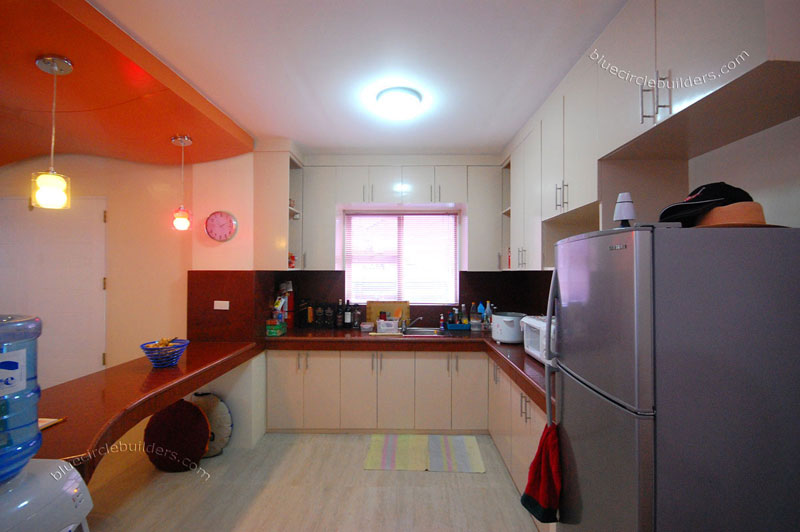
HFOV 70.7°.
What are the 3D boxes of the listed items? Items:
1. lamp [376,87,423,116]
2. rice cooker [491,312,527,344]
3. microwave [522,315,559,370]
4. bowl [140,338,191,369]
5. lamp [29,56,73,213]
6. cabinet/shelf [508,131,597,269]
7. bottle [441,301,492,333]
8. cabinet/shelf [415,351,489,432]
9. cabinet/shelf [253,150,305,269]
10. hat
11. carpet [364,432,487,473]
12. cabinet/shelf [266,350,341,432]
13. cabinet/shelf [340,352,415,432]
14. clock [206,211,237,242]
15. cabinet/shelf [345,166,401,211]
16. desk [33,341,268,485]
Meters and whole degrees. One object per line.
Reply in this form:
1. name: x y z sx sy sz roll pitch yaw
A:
1. lamp: -0.009 -1.334 4.584 0.382 0.174 0.402 -3 1 -2
2. rice cooker: 0.989 0.553 5.118 0.262 0.206 0.249 0 1 -27
3. microwave: 1.061 0.544 4.374 0.312 0.390 0.502 1 -6 3
4. bowl: -1.838 0.669 4.419 0.255 0.133 0.265 -1 -4 0
5. lamp: -2.606 -0.898 4.203 0.289 1.168 1.157 -3 1 -33
6. cabinet/shelf: 1.196 -0.523 4.369 0.356 1.174 1.127 1 -3 -1
7. bottle: 0.683 0.513 5.764 0.550 0.239 0.397 -3 1 4
8. cabinet/shelf: 0.501 1.247 5.408 0.735 0.789 0.282 0 6 -1
9. cabinet/shelf: -1.136 -0.539 5.423 0.320 1.069 0.546 -2 1 26
10. hat: 1.798 -0.310 3.339 0.384 0.197 0.301 0 -7 37
11. carpet: 0.221 1.641 4.998 1.021 0.236 0.594 -3 1 4
12. cabinet/shelf: -0.887 1.169 5.297 0.696 0.718 0.264 0 0 3
13. cabinet/shelf: -0.201 1.178 5.284 0.673 0.706 0.354 0 -4 -1
14. clock: -1.654 -0.371 5.213 0.253 0.273 0.059 -5 4 -5
15. cabinet/shelf: -0.217 -0.665 5.753 0.594 0.433 0.344 -1 -3 2
16. desk: -1.974 1.010 4.124 0.734 0.495 1.639 -2 1 18
